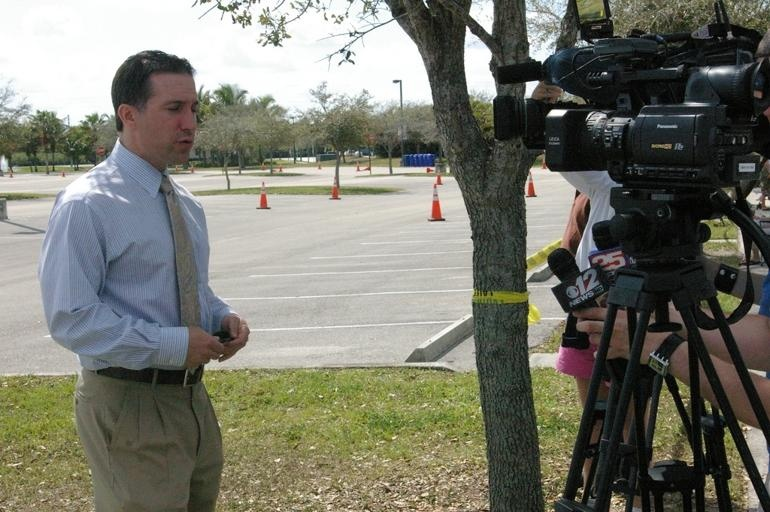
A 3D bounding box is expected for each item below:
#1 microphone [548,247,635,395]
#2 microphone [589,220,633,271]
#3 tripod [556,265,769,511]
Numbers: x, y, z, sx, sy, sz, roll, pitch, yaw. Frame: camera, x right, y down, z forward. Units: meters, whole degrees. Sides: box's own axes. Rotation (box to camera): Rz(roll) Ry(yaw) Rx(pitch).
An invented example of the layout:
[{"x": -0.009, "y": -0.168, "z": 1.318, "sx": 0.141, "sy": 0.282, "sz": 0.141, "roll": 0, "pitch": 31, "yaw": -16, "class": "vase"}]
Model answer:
[{"x": 0.883, "y": 0.223, "z": 3.160, "sx": 0.292, "sy": 0.544, "sz": 0.203, "roll": -15, "pitch": -5, "yaw": 6, "class": "microphone"}, {"x": 1.045, "y": -0.043, "z": 3.333, "sx": 0.163, "sy": 0.311, "sz": 0.156, "roll": -6, "pitch": 32, "yaw": 18, "class": "microphone"}, {"x": 1.297, "y": 0.478, "z": 3.566, "sx": 0.843, "sy": 1.297, "sz": 0.970, "roll": -1, "pitch": 7, "yaw": 15, "class": "tripod"}]
